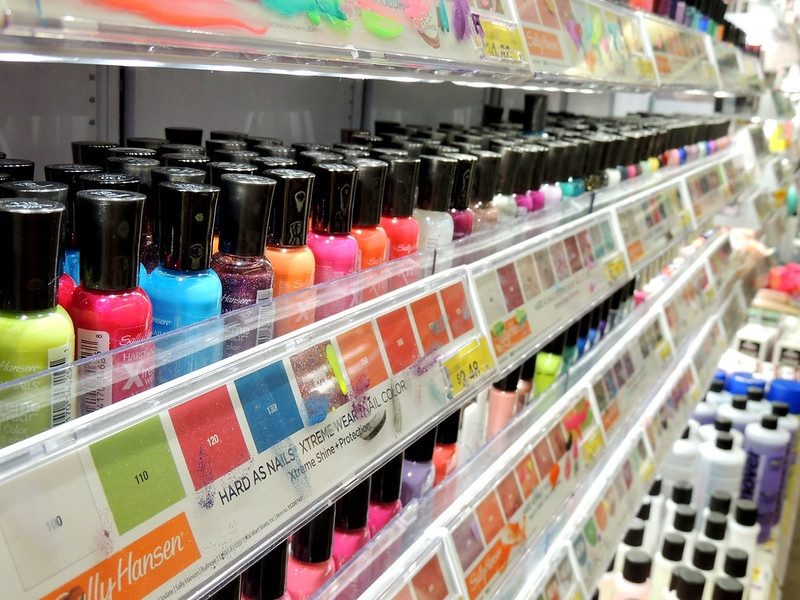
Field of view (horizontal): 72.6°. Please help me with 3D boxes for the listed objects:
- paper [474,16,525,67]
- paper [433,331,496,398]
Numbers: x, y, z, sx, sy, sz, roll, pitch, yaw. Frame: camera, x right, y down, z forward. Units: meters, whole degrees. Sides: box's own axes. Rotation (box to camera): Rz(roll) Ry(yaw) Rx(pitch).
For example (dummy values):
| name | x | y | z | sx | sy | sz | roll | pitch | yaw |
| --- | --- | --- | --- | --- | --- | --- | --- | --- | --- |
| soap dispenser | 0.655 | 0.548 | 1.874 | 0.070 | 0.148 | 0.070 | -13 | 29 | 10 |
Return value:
| name | x | y | z | sx | sy | sz | roll | pitch | yaw |
| --- | --- | --- | --- | --- | --- | --- | --- | --- | --- |
| paper | 0.140 | -0.351 | 0.735 | 0.011 | 0.051 | 0.102 | -29 | 41 | -20 |
| paper | 0.101 | 0.082 | 0.703 | 0.014 | 0.060 | 0.112 | 2 | -31 | -39 |
